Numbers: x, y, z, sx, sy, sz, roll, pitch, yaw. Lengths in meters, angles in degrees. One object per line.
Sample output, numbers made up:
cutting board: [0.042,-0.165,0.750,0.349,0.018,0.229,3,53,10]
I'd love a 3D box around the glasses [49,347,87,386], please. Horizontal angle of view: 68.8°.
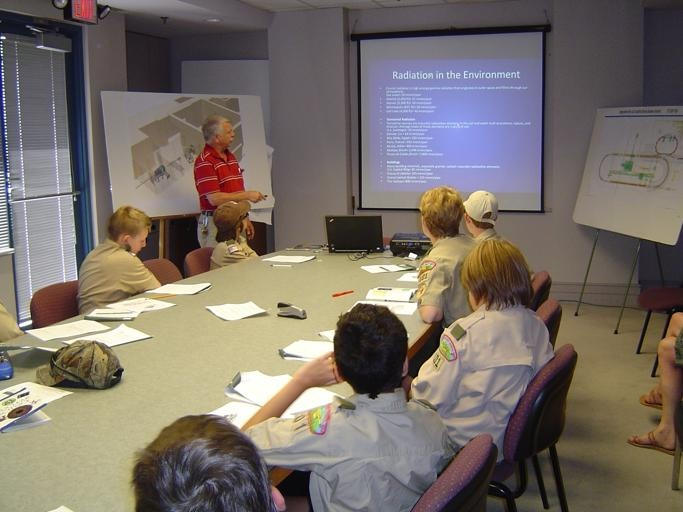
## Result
glasses: [-0.985,0.415,1.828,0.145,0.058,0.108,12,25,12]

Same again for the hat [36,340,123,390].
hat: [-0.941,0.370,1.805,0.232,0.140,0.160,9,5,11]

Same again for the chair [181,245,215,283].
chair: [-1.157,0.054,4.063,0.210,0.293,0.222,-16,18,-40]

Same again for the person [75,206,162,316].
person: [-1.498,0.157,3.310,0.435,0.972,0.391,3,26,-36]

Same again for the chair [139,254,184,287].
chair: [-1.314,0.117,3.719,0.215,0.283,0.196,10,22,33]

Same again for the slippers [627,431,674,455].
slippers: [1.736,1.041,2.815,0.181,0.075,0.085,2,2,40]

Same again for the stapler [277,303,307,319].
stapler: [-0.254,0.284,2.637,0.195,0.094,0.065,9,12,35]

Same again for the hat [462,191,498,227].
hat: [0.865,-0.322,3.166,0.157,0.146,0.237,-4,26,-11]

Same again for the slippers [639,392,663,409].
slippers: [1.997,0.937,3.272,0.087,0.066,0.163,-5,12,-26]

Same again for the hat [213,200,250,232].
hat: [-0.871,-0.330,4.062,0.167,0.203,0.365,6,13,22]
